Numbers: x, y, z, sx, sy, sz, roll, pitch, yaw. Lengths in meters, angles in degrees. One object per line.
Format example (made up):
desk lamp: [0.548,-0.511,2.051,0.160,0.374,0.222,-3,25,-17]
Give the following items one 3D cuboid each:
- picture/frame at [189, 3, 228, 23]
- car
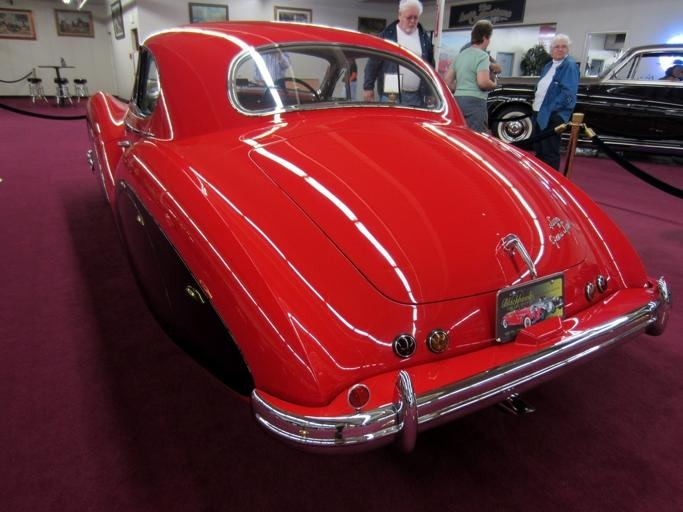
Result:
picture/frame: [-3.527,-6.480,11.222,1.052,0.463,0.371,-8,27,-21]
car: [-0.257,-0.054,2.117,1.487,1.024,2.675,-14,43,-29]
